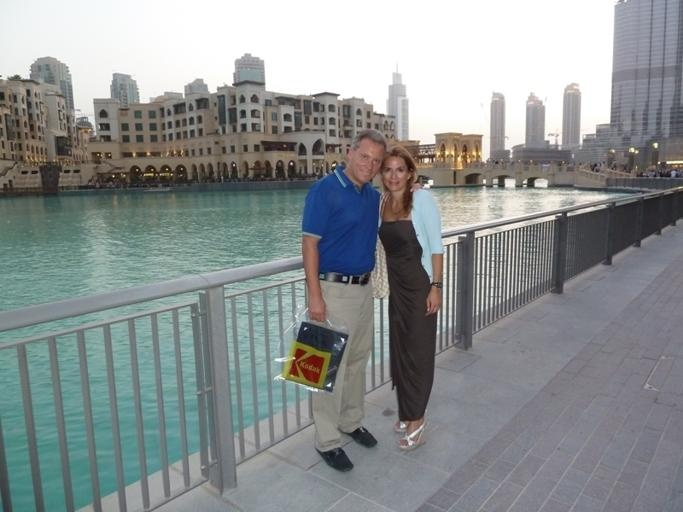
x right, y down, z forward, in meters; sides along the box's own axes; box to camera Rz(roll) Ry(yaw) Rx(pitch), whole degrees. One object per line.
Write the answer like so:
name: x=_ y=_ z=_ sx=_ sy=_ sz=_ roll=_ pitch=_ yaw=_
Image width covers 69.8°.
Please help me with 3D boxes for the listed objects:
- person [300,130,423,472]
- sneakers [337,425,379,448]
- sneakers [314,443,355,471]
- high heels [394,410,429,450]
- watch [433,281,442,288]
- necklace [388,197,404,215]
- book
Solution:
person: x=0.015 y=0.304 z=3.596 sx=0.448 sy=2.395 sz=0.691 roll=6 pitch=14 yaw=28
sneakers: x=0.131 y=1.398 z=3.883 sx=0.293 sy=0.106 sz=0.109 roll=13 pitch=13 yaw=37
sneakers: x=-0.036 y=1.472 z=3.575 sx=0.109 sy=0.098 sz=0.254 roll=-4 pitch=5 yaw=-43
high heels: x=0.553 y=1.385 z=3.883 sx=0.141 sy=0.127 sz=0.327 roll=0 pitch=9 yaw=22
watch: x=0.722 y=0.219 z=3.696 sx=0.063 sy=0.039 sz=0.063 roll=7 pitch=-10 yaw=-34
necklace: x=0.403 y=-0.369 z=3.661 sx=0.102 sy=0.140 sz=0.045 roll=-1 pitch=9 yaw=20
book: x=-0.187 y=0.700 z=3.440 sx=0.475 sy=0.468 sz=0.144 roll=14 pitch=1 yaw=9
